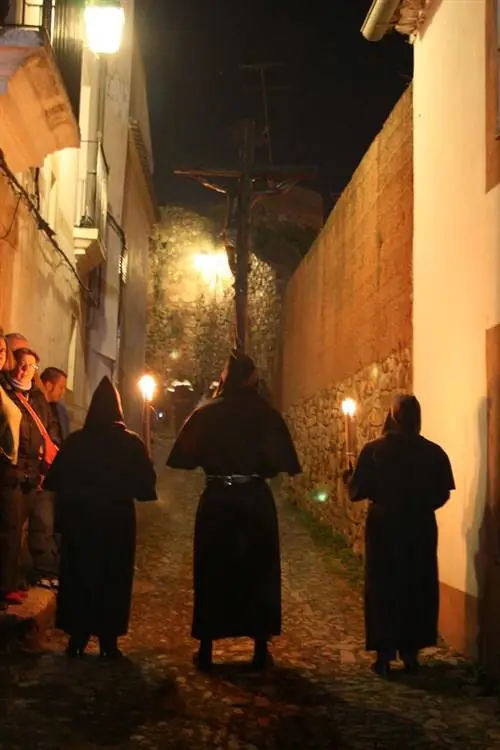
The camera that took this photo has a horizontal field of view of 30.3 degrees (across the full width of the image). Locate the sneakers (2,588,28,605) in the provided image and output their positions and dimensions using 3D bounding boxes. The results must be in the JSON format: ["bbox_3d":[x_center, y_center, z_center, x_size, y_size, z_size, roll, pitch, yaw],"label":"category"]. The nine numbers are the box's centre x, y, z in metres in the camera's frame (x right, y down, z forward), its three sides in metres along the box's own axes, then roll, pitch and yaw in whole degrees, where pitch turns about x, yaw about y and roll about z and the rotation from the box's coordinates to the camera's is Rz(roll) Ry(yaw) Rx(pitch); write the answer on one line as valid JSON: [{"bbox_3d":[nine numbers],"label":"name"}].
[{"bbox_3d":[-1.346,1.288,5.324,0.049,0.067,0.146,0,-2,9],"label":"sneakers"}]

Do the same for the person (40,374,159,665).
[{"bbox_3d":[-0.859,0.771,5.212,0.621,1.566,0.418,5,-9,-7],"label":"person"}]

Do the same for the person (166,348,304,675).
[{"bbox_3d":[-0.088,0.711,5.118,0.711,1.769,0.443,5,-9,-6],"label":"person"}]

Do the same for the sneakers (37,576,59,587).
[{"bbox_3d":[-1.321,1.366,6.028,0.124,0.080,0.037,20,-33,-37],"label":"sneakers"}]
